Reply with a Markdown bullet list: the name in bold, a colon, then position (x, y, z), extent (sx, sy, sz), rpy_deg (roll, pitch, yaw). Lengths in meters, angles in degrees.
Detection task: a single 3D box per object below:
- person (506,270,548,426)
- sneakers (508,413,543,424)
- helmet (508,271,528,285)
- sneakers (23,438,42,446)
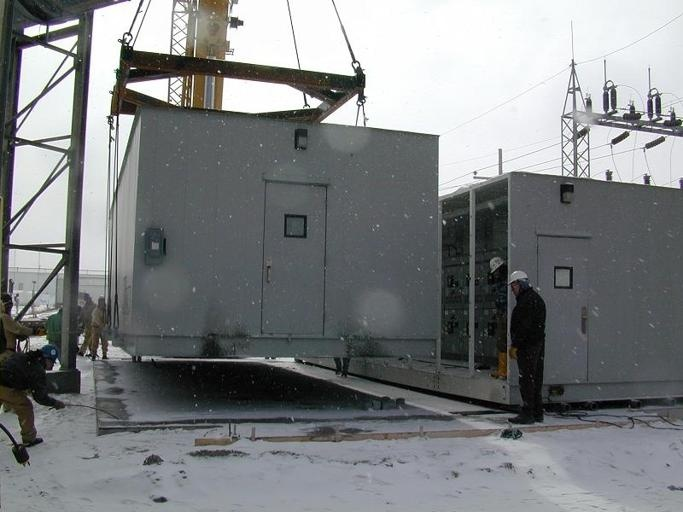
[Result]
- **person**: position (2.772, 1.367, 11.055), extent (0.534, 2.207, 0.706), rpy_deg (1, 3, 14)
- **sneakers**: position (2.741, 2.415, 10.899), extent (0.574, 0.126, 0.238), rpy_deg (1, 3, -8)
- **helmet**: position (2.689, 0.339, 11.294), extent (0.171, 0.163, 0.253), rpy_deg (-2, 1, -9)
- **sneakers**: position (-3.951, 2.396, 9.456), extent (0.076, 0.112, 0.231), rpy_deg (7, 9, 43)
